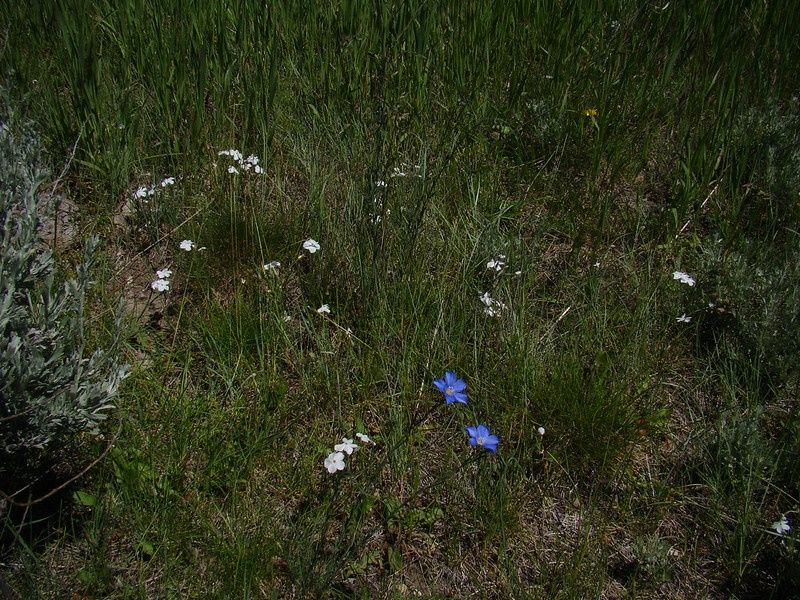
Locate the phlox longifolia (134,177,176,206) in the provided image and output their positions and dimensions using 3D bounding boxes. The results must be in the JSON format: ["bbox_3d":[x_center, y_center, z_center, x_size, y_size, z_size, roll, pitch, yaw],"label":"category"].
[{"bbox_3d":[-1.379,-0.615,3.845,0.186,0.076,0.163,-23,53,-26],"label":"phlox longifolia"}]

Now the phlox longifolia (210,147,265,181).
[{"bbox_3d":[-0.917,-0.785,3.936,0.171,0.116,0.251,0,33,-17],"label":"phlox longifolia"}]

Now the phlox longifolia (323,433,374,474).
[{"bbox_3d":[-0.206,0.628,2.744,0.197,0.047,0.165,-38,33,35],"label":"phlox longifolia"}]
